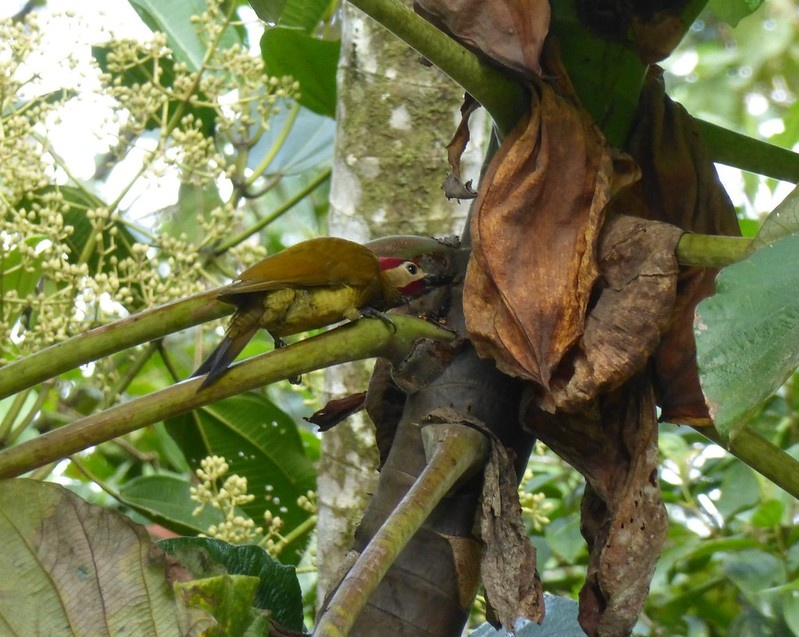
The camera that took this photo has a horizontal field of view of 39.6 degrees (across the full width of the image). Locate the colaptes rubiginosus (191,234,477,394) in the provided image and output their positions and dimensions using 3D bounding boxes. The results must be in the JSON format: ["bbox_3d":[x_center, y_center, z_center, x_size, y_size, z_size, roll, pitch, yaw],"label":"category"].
[{"bbox_3d":[-0.112,-0.020,1.836,0.510,0.211,0.136,-4,-20,-38],"label":"colaptes rubiginosus"}]
